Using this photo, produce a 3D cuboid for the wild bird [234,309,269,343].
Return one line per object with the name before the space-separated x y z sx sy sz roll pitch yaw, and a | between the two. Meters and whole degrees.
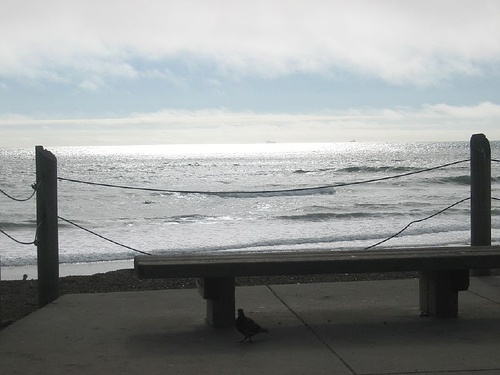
wild bird | -0.004 1.350 5.860 0.325 0.238 0.171 8 5 -21
